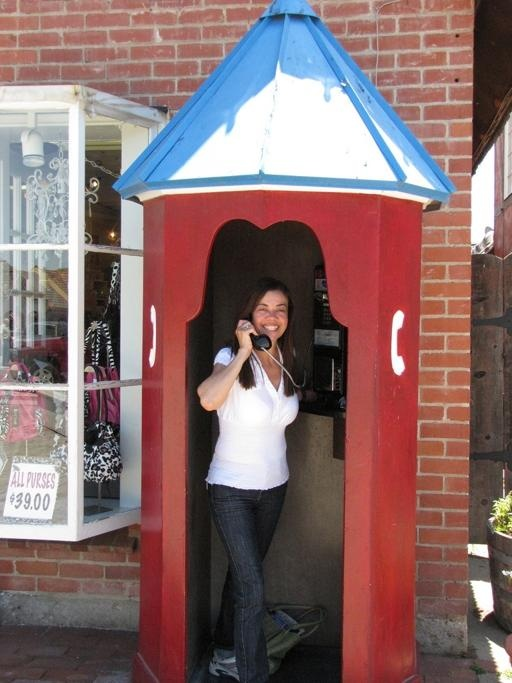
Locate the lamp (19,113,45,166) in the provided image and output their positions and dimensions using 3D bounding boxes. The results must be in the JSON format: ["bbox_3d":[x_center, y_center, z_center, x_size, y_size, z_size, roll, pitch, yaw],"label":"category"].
[{"bbox_3d":[-1.041,-0.940,4.276,0.075,0.241,0.100,-6,-10,18],"label":"lamp"}]

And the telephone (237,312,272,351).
[{"bbox_3d":[-0.008,-0.029,3.708,0.090,0.151,0.035,-42,9,-30],"label":"telephone"}]

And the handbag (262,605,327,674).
[{"bbox_3d":[0.167,1.332,4.183,0.201,0.104,0.230,-16,4,-4],"label":"handbag"}]

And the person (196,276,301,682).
[{"bbox_3d":[-0.030,0.591,3.787,0.390,1.687,0.596,1,-4,2],"label":"person"}]

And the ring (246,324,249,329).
[{"bbox_3d":[-0.033,-0.055,3.639,0.016,0.008,0.029,-9,22,5],"label":"ring"}]
